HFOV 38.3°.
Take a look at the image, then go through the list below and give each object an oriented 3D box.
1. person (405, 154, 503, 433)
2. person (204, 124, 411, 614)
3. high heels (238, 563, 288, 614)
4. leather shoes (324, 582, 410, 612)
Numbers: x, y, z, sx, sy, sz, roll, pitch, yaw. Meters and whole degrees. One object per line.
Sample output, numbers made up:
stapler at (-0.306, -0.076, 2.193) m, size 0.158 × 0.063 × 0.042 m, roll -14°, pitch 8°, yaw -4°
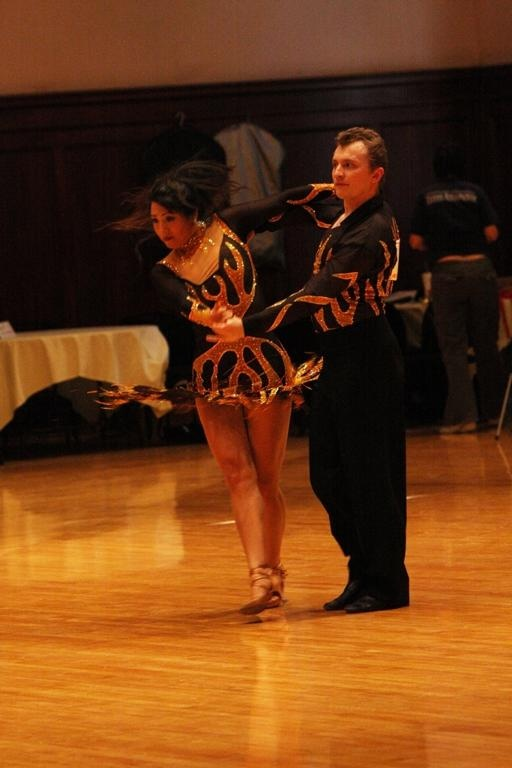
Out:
person at (1.214, -0.553, 4.498) m, size 0.512 × 1.731 × 0.422 m, roll -1°, pitch -1°, yaw 17°
person at (0.190, -0.007, 1.862) m, size 0.329 × 1.245 × 0.520 m, roll -1°, pitch -2°, yaw 19°
high heels at (0.025, 0.542, 1.948) m, size 0.071 × 0.083 × 0.210 m, roll -4°, pitch -8°, yaw 16°
leather shoes at (0.306, 0.592, 2.008) m, size 0.161 × 0.053 × 0.089 m, roll 5°, pitch -11°, yaw -4°
